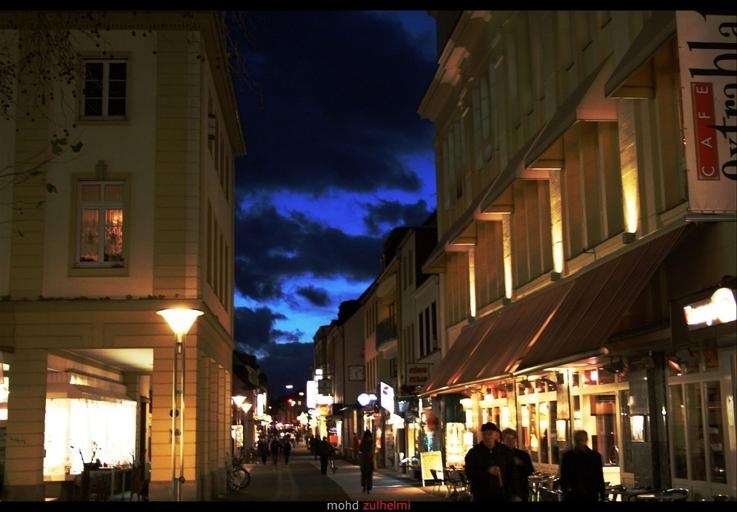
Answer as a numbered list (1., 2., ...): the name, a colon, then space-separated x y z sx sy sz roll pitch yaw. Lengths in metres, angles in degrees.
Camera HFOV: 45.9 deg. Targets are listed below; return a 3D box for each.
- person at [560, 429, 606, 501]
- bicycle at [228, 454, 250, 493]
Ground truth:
1. person: 4.160 4.120 17.201 0.815 1.412 0.537 -6 -20 10
2. bicycle: -5.237 8.752 35.165 0.703 1.450 2.410 0 -21 -5
